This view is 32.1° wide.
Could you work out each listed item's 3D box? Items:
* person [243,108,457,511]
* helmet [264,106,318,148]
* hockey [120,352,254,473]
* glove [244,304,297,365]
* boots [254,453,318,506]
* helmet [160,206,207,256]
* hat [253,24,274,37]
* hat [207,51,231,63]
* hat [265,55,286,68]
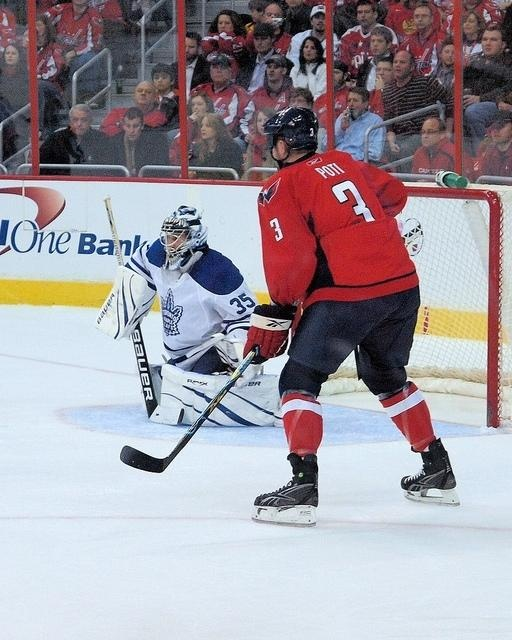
[{"bbox_3d":[0.260,-0.018,2.551,0.633,1.164,0.471,-4,15,-9],"label":"person"},{"bbox_3d":[0.109,-0.567,2.616,0.165,0.106,0.132,15,21,39],"label":"helmet"},{"bbox_3d":[-0.240,0.354,3.393,0.505,0.126,0.150,-37,48,-22],"label":"hockey"},{"bbox_3d":[0.041,0.025,2.585,0.128,0.181,0.073,20,36,-14],"label":"glove"},{"bbox_3d":[0.101,0.460,2.504,0.235,0.160,0.078,-8,-14,33],"label":"boots"},{"bbox_3d":[-0.313,-0.375,3.794,0.247,0.191,0.182,-8,-1,-43],"label":"helmet"},{"bbox_3d":[0.054,-1.798,5.529,0.107,0.057,0.108,11,19,39],"label":"hat"},{"bbox_3d":[-0.233,-1.662,5.633,0.122,0.036,0.083,3,-3,-32],"label":"hat"},{"bbox_3d":[0.132,-1.588,5.456,0.083,0.048,0.114,1,-1,30],"label":"hat"}]
